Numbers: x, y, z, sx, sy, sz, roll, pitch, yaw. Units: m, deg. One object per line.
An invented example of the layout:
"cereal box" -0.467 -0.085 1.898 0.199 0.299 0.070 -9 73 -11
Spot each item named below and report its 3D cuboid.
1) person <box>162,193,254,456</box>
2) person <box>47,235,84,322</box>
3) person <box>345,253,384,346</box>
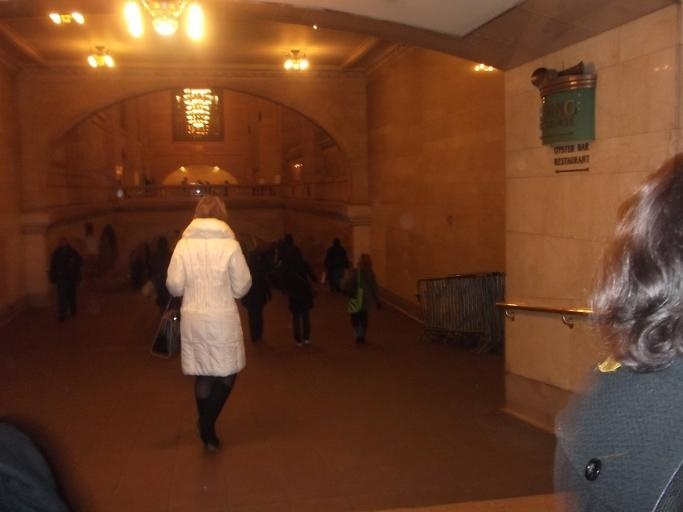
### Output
"person" -1.039 0.523 3.831 0.621 2.002 0.248 0 0 4
"person" -5.837 0.527 10.297 0.564 1.728 1.232 -1 1 -32
"person" 0.341 0.752 8.086 0.571 1.558 0.640 0 1 1
